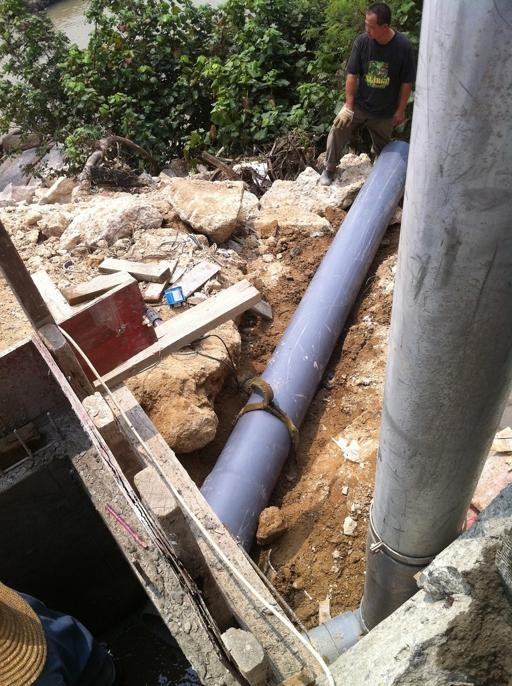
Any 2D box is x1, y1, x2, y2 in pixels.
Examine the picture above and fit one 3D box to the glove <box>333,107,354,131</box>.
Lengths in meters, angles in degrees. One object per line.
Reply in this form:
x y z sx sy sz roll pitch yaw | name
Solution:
1.080 -2.745 7.412 0.075 0.248 0.194 14 40 -40 | glove
